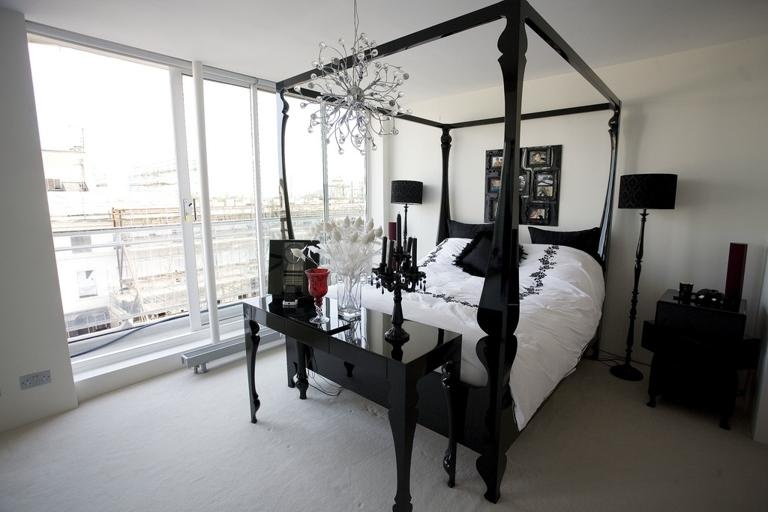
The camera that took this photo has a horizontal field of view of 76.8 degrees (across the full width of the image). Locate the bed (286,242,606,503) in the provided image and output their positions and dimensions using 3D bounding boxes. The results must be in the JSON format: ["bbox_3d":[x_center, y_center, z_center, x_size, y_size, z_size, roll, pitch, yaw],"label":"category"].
[{"bbox_3d":[1.197,1.064,4.542,2.086,0.929,2.030,9,13,42],"label":"bed"}]

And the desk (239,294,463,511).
[{"bbox_3d":[-0.231,1.217,3.979,0.555,0.936,1.439,-11,15,-44],"label":"desk"}]

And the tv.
[{"bbox_3d":[-0.849,0.075,4.388,0.539,0.641,0.361,-5,28,-25],"label":"tv"}]

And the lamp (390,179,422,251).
[{"bbox_3d":[0.296,-0.551,6.580,0.494,0.794,0.498,2,-3,6],"label":"lamp"}]

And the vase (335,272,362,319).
[{"bbox_3d":[-0.300,0.325,4.093,0.238,0.381,0.225,-5,-19,7],"label":"vase"}]

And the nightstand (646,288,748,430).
[{"bbox_3d":[3.039,0.930,4.668,0.841,1.105,0.890,-13,17,-34],"label":"nightstand"}]

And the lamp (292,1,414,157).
[{"bbox_3d":[-0.361,-1.774,4.779,0.659,1.135,0.649,-28,45,-33],"label":"lamp"}]
